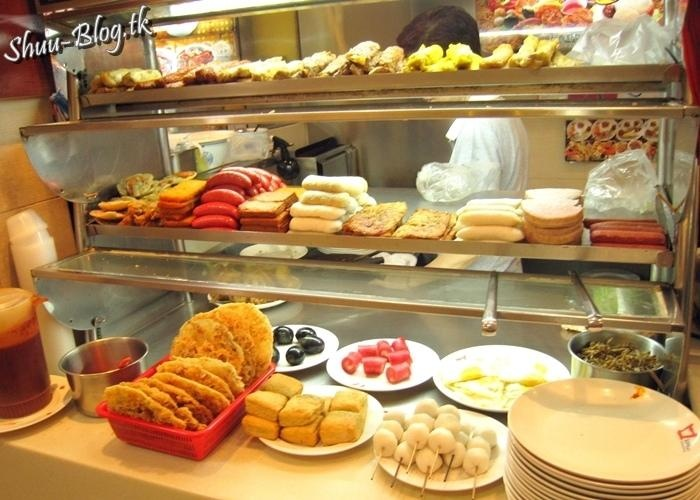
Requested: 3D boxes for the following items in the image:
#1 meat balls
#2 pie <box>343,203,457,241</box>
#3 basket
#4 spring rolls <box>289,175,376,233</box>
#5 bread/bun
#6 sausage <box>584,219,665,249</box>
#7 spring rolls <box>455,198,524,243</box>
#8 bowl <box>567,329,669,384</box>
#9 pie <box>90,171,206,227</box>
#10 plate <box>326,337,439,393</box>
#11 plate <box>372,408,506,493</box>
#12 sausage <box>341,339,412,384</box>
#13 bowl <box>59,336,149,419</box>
[{"bbox_3d":[0.269,0.595,1.627,0.276,0.076,0.245,5,11,31],"label":"meat balls"},{"bbox_3d":[0.194,-0.137,1.916,0.550,0.113,0.435,3,12,31],"label":"pie"},{"bbox_3d":[-0.541,0.565,2.001,0.700,0.246,0.558,4,14,41],"label":"basket"},{"bbox_3d":[-0.101,-0.208,2.013,0.401,0.214,0.400,-6,14,1],"label":"spring rolls"},{"bbox_3d":[-0.131,0.515,1.866,0.417,0.163,0.470,3,12,26],"label":"bread/bun"},{"bbox_3d":[0.877,-0.058,1.659,0.212,0.066,0.158,-1,16,15],"label":"sausage"},{"bbox_3d":[0.471,-0.117,1.743,0.208,0.072,0.174,-1,12,10],"label":"spring rolls"},{"bbox_3d":[0.878,0.353,1.740,0.239,0.134,0.230,-7,7,1],"label":"bowl"},{"bbox_3d":[-0.827,-0.203,2.164,0.385,0.087,0.323,5,22,14],"label":"pie"},{"bbox_3d":[0.129,0.460,2.040,0.322,0.103,0.284,11,16,42],"label":"plate"},{"bbox_3d":[0.318,0.610,1.647,0.449,0.169,0.301,-10,16,-20],"label":"plate"},{"bbox_3d":[0.113,0.432,2.051,0.212,0.049,0.179,-3,13,13],"label":"sausage"},{"bbox_3d":[-0.955,0.446,1.995,0.329,0.293,0.337,5,18,-2],"label":"bowl"}]
